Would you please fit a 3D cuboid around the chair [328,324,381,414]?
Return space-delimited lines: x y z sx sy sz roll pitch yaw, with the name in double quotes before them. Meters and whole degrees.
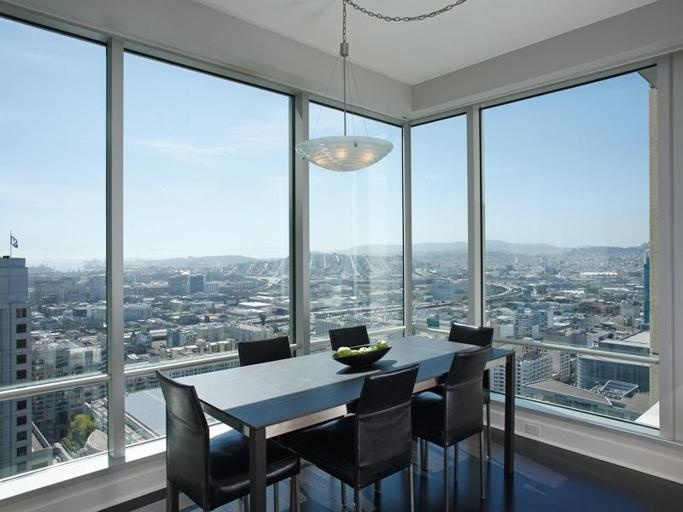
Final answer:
"chair" 0.152 0.909 4.350 0.425 0.524 0.488 -6 -9 -15
